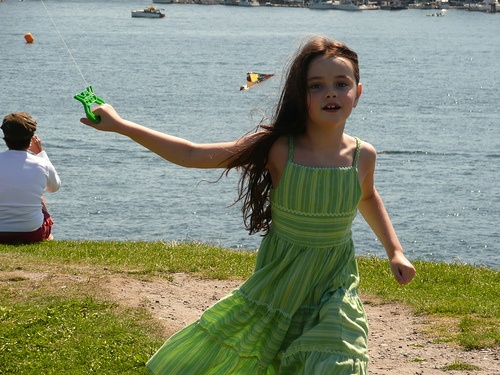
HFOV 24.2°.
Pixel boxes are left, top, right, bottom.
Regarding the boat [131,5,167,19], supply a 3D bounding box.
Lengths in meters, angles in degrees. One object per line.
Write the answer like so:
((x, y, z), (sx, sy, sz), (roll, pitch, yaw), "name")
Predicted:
((-14.059, -24.129, 160.086), (3.684, 1.443, 6.723), (-4, 15, -19), "boat")
